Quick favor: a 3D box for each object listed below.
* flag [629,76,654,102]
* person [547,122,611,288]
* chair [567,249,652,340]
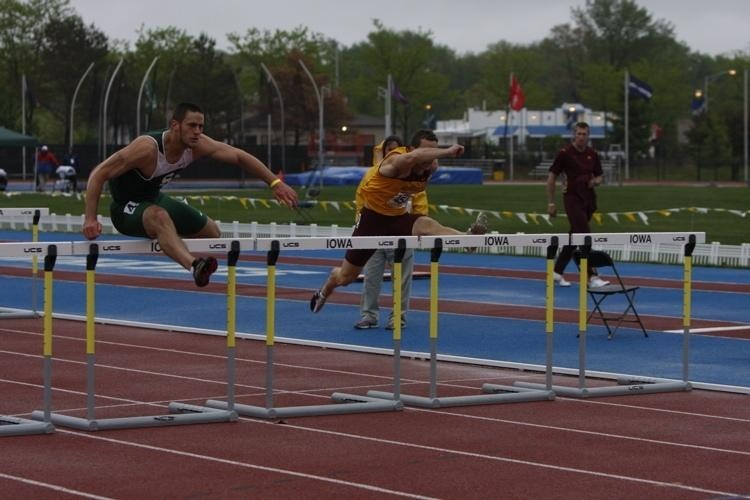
[{"bbox_3d":[14.404,-8.794,56.950,1.148,1.221,2.424,2,6,13],"label":"flag"},{"bbox_3d":[2.993,-0.778,17.348,1.220,2.837,1.569,2,3,22],"label":"person"},{"bbox_3d":[3.627,0.711,16.257,1.472,1.234,0.667,2,-1,-19],"label":"chair"}]
